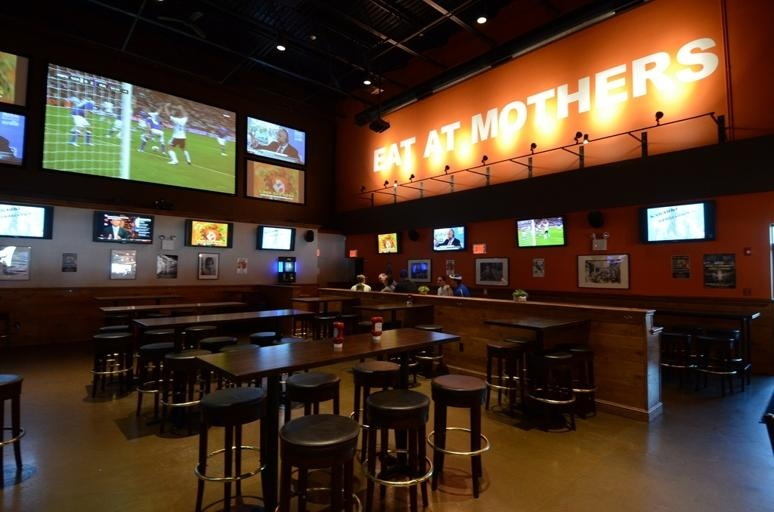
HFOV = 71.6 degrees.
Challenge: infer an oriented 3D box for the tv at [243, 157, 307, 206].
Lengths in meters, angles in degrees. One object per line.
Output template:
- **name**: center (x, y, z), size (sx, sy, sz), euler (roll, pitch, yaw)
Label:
- **tv**: center (-3.390, -2.197, 15.814), size (1.675, 0.911, 0.055), euler (2, -6, -40)

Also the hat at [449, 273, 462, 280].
- **hat**: center (1.581, 0.471, 12.431), size (0.236, 0.076, 0.253), euler (-1, 1, 35)

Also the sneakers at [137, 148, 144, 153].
- **sneakers**: center (-6.239, -2.698, 13.640), size (0.164, 0.107, 0.058), euler (4, -1, -11)

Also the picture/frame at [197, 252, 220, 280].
- **picture/frame**: center (-4.497, 0.238, 13.458), size (0.750, 0.957, 0.036), euler (-2, 1, -39)

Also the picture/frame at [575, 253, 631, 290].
- **picture/frame**: center (4.661, 0.326, 11.519), size (0.850, 0.634, 0.071), euler (1, -1, 39)

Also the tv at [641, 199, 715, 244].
- **tv**: center (5.806, -0.697, 10.642), size (0.922, 0.589, 0.094), euler (0, -3, 38)

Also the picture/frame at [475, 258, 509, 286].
- **picture/frame**: center (2.597, 0.389, 13.150), size (0.754, 0.596, 0.057), euler (0, -4, 43)

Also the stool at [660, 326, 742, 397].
- **stool**: center (5.822, 1.963, 10.028), size (1.306, 0.823, 1.274), euler (0, -3, -41)

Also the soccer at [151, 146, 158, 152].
- **soccer**: center (-5.973, -2.780, 13.836), size (0.106, 0.096, 0.124), euler (-1, 14, -12)
